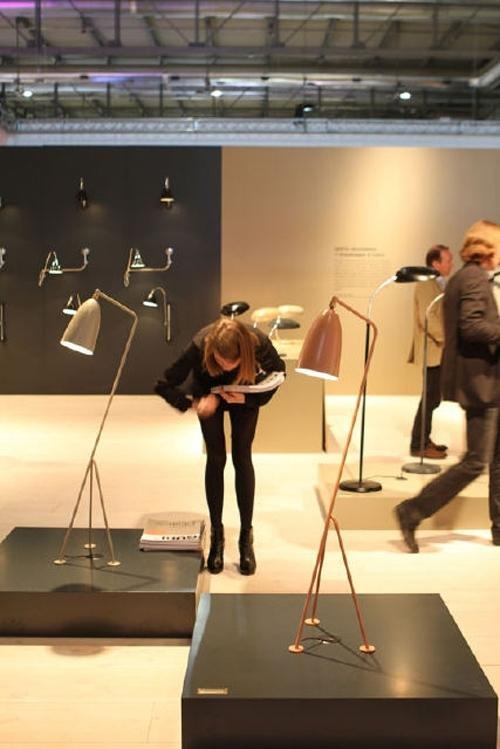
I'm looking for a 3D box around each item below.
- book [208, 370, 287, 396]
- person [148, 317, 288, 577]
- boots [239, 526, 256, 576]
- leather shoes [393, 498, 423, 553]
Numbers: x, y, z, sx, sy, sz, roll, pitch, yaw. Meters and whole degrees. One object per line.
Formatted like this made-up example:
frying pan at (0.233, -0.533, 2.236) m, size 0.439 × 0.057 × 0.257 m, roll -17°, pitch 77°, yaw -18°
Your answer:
book at (-0.013, 0.042, 2.807) m, size 0.287 × 0.090 × 0.206 m, roll -2°, pitch 5°, yaw 10°
person at (-0.108, 0.317, 2.899) m, size 0.534 × 1.086 × 0.610 m, roll -3°, pitch 6°, yaw 1°
boots at (-0.006, 0.745, 3.037) m, size 0.088 × 0.173 × 0.189 m, roll 0°, pitch 18°, yaw -5°
leather shoes at (0.737, 0.731, 3.392) m, size 0.083 × 0.198 × 0.160 m, roll -8°, pitch -33°, yaw -1°
